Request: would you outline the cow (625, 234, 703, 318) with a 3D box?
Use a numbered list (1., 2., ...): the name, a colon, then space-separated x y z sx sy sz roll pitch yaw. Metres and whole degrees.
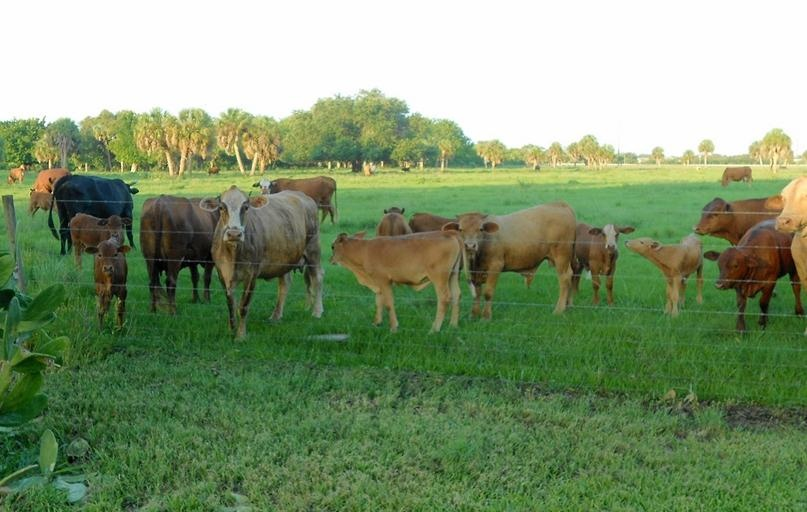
1. cow: 5.316 0.344 15.095 0.981 1.468 1.673 2 4 37
